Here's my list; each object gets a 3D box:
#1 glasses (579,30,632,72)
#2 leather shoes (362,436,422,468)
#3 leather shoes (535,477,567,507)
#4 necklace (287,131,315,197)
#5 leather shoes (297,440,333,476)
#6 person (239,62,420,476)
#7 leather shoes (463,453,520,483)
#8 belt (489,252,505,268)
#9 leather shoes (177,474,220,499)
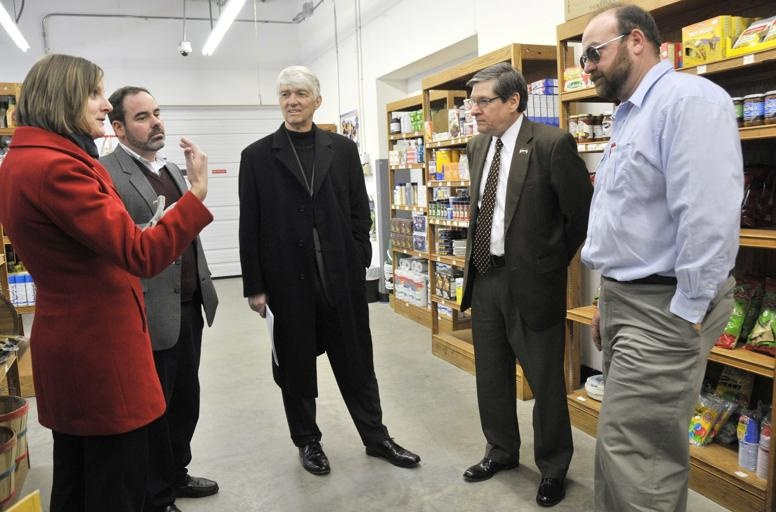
[{"bbox_3d":[0.985,-0.944,2.370,0.143,0.046,0.135,-22,4,-12],"label":"glasses"},{"bbox_3d":[0.037,1.284,3.452,0.432,0.181,0.158,5,7,34],"label":"leather shoes"},{"bbox_3d":[0.946,1.379,2.994,0.091,0.090,0.226,-4,-4,29],"label":"leather shoes"},{"bbox_3d":[-0.553,-0.585,3.223,0.127,0.486,0.022,-9,-22,-27],"label":"necklace"},{"bbox_3d":[-0.522,1.329,3.467,0.143,0.170,0.381,8,-2,-30],"label":"leather shoes"},{"bbox_3d":[-0.453,0.133,3.294,0.914,2.550,0.357,-4,10,-2],"label":"person"},{"bbox_3d":[0.679,1.345,3.340,0.404,0.160,0.134,-6,1,-20],"label":"leather shoes"},{"bbox_3d":[0.668,0.022,3.150,0.092,0.057,0.094,-6,1,16],"label":"belt"},{"bbox_3d":[-1.191,1.443,3.261,0.285,0.111,0.105,-1,5,-18],"label":"leather shoes"}]
